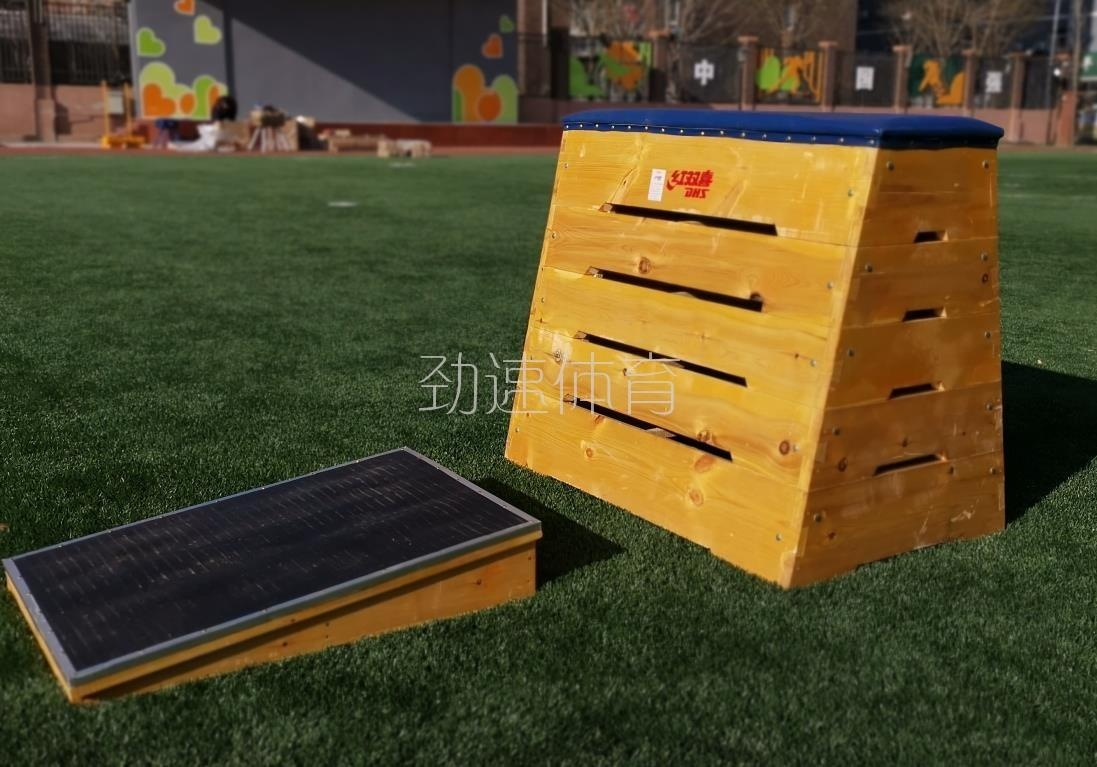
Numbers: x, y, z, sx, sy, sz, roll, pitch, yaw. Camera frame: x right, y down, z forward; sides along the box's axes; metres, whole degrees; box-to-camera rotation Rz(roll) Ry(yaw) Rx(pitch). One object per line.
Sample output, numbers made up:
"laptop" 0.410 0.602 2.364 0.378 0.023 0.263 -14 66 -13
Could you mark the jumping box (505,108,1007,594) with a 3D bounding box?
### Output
"jumping box" 1.016 -0.259 3.819 2.353 2.012 1.212 14 23 31
